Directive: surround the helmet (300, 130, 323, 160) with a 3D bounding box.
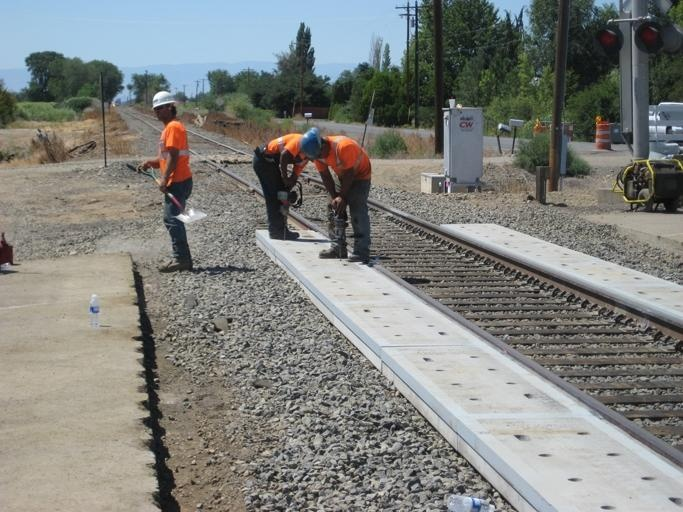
[{"bbox_3d":[-0.383,-1.403,8.082,0.243,0.391,0.330,-8,12,-17],"label":"helmet"}]

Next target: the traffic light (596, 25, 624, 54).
[{"bbox_3d":[4.738,-3.800,11.306,0.448,0.479,0.244,-1,12,14],"label":"traffic light"}]

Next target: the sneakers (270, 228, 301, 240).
[{"bbox_3d":[-0.894,-0.341,10.094,0.500,0.213,0.163,1,7,-9],"label":"sneakers"}]

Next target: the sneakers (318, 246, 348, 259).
[{"bbox_3d":[-0.101,-0.046,8.925,0.360,0.138,0.158,3,3,-9],"label":"sneakers"}]

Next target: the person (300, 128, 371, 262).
[{"bbox_3d":[-0.008,-0.775,8.565,0.821,1.856,1.002,-3,12,4],"label":"person"}]

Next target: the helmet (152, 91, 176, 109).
[{"bbox_3d":[-2.357,-2.058,8.567,0.267,0.162,0.326,-5,9,7],"label":"helmet"}]
